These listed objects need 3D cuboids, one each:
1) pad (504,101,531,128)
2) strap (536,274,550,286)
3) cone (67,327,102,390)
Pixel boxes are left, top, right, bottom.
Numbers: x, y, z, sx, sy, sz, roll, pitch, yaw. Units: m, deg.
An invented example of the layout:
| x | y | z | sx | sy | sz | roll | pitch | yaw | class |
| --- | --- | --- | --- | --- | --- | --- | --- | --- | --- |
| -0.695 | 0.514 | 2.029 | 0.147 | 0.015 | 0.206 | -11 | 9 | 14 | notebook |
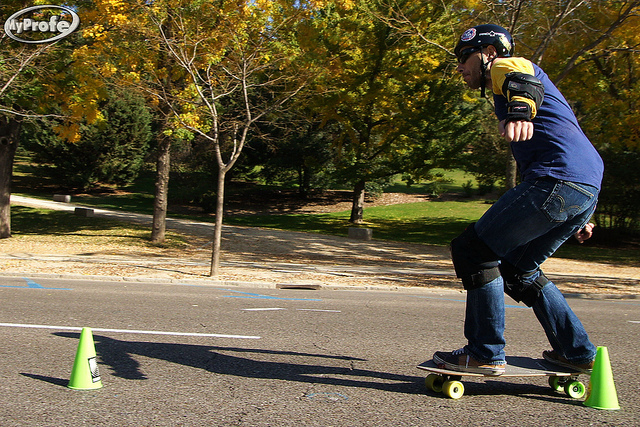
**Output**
| x | y | z | sx | sy | sz | roll | pitch | yaw | class |
| --- | --- | --- | --- | --- | --- | --- | --- | --- | --- |
| 2.426 | -1.232 | 8.234 | 0.487 | 0.250 | 0.157 | 1 | 5 | 6 | pad |
| 2.854 | 0.859 | 8.639 | 0.163 | 0.158 | 0.035 | 45 | -13 | 11 | strap |
| -2.951 | 1.871 | 8.614 | 0.424 | 0.785 | 0.267 | 12 | 13 | 20 | cone |
